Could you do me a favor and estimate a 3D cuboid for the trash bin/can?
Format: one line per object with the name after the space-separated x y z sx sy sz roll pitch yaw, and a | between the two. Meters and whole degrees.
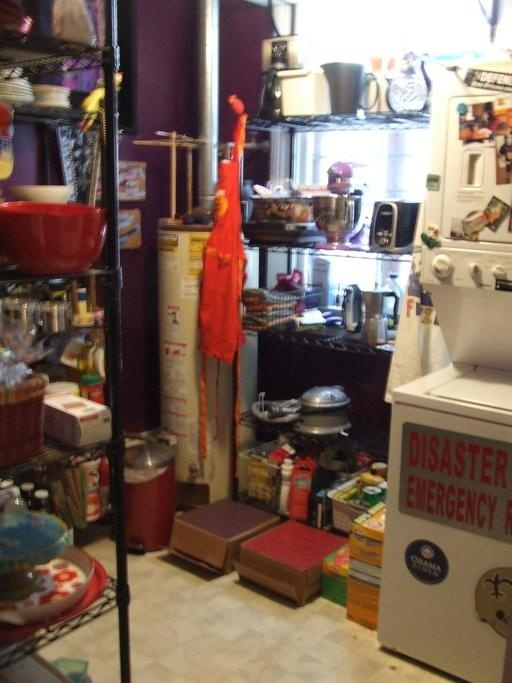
-0.485 0.674 2.564 0.261 0.462 0.286 4 9 24 | trash bin/can

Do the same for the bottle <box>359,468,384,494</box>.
0.454 0.576 2.287 0.063 0.072 0.111 -3 2 -28 | bottle

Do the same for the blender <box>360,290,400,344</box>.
0.541 -0.104 2.460 0.159 0.232 0.257 2 5 11 | blender
